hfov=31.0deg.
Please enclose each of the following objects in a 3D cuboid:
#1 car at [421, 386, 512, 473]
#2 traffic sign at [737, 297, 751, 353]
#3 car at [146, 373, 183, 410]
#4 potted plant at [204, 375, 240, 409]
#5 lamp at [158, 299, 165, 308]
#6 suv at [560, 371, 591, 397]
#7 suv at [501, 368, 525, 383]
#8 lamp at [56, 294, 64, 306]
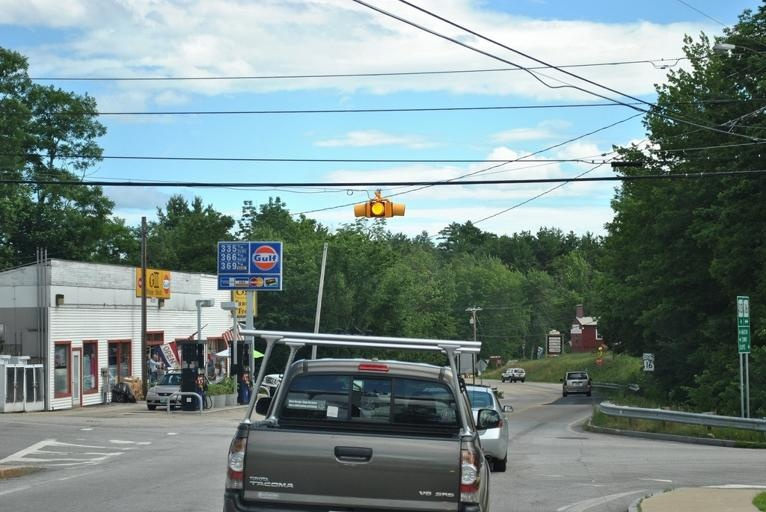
[{"bbox_3d":[3.021,6.619,51.382,3.703,3.043,7.895,-1,3,6],"label":"car"},{"bbox_3d":[17.458,3.419,66.771,0.444,2.725,1.408,-3,-8,20],"label":"traffic sign"},{"bbox_3d":[-11.701,7.452,75.045,1.691,2.057,2.501,4,-9,-35],"label":"car"},{"bbox_3d":[-9.117,7.698,77.285,1.406,1.248,1.812,-1,-7,6],"label":"potted plant"},{"bbox_3d":[-13.710,3.023,85.387,0.467,0.477,0.434,2,-6,-20],"label":"lamp"},{"bbox_3d":[14.439,9.641,102.527,2.027,1.901,2.286,-2,-8,5],"label":"suv"},{"bbox_3d":[13.346,12.406,140.529,1.195,0.862,2.222,2,0,-14],"label":"suv"},{"bbox_3d":[-17.907,2.492,76.581,0.151,0.663,0.657,-4,-8,21],"label":"lamp"}]
